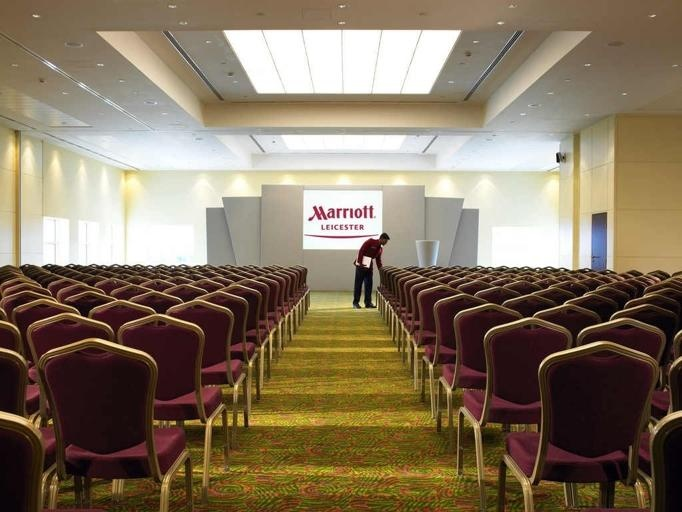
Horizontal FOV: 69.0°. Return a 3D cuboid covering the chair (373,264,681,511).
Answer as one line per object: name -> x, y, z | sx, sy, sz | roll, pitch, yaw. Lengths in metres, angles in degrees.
chair -> 1.116, 0.877, 3.080 | 0.875, 1.151, 1.634 | 0, -4, 1

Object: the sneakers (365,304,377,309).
sneakers -> 0.709, 1.193, 11.829 | 0.280, 0.127, 0.099 | -1, -1, 0

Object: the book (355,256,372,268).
book -> 0.531, 0.130, 11.469 | 0.366, 0.267, 0.257 | 0, 2, 6

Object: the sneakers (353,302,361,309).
sneakers -> 0.374, 1.192, 12.042 | 0.115, 0.149, 0.345 | 1, -8, -15

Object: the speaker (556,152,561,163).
speaker -> 7.057, -3.187, 16.090 | 0.117, 0.346, 0.338 | 1, 2, 19
